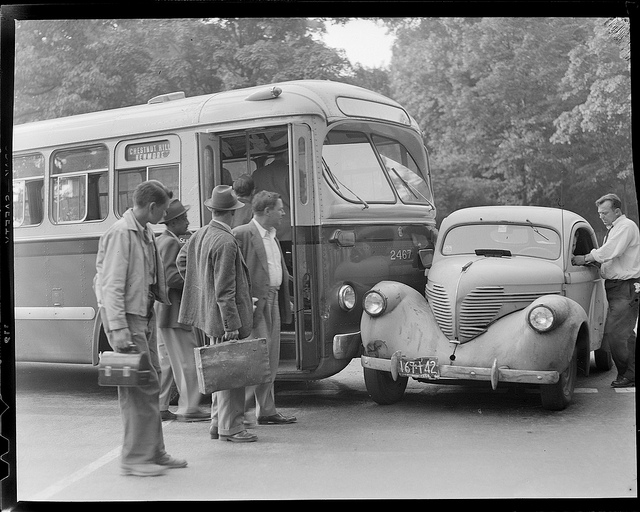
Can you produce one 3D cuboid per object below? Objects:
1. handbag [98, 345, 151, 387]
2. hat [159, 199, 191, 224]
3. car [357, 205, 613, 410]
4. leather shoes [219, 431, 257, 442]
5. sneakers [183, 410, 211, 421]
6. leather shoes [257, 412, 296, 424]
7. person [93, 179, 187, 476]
[{"bbox_3d":[-1.733,1.009,7.133,0.396,0.321,0.272,2,-16,1],"label":"handbag"},{"bbox_3d":[-1.765,-0.566,9.596,0.302,0.119,0.271,-35,16,6],"label":"hat"},{"bbox_3d":[2.040,0.581,9.906,2.533,1.892,2.550,-4,-2,25],"label":"car"},{"bbox_3d":[-0.854,1.913,8.258,0.379,0.153,0.152,-2,0,-1],"label":"leather shoes"},{"bbox_3d":[-1.474,1.940,9.503,0.360,0.153,0.128,-2,1,-18],"label":"sneakers"},{"bbox_3d":[-0.500,1.882,9.059,0.437,0.163,0.159,-1,-2,-10],"label":"leather shoes"},{"bbox_3d":[-1.663,0.665,7.349,0.722,2.797,0.559,-2,-2,-26],"label":"person"}]
